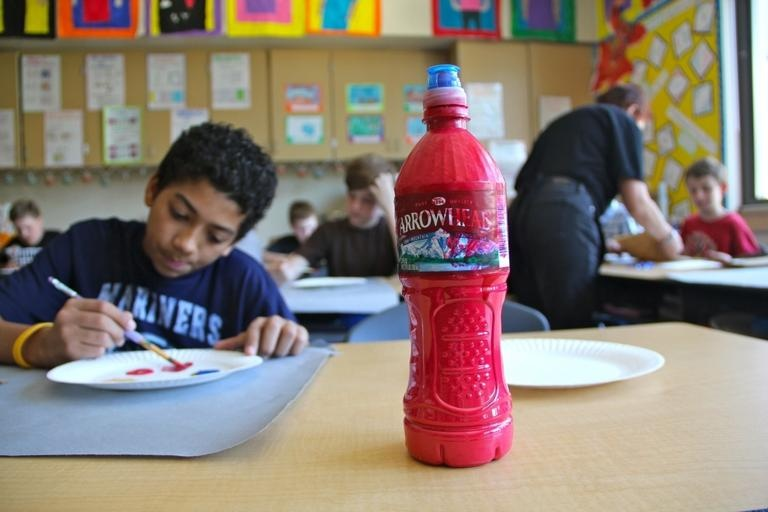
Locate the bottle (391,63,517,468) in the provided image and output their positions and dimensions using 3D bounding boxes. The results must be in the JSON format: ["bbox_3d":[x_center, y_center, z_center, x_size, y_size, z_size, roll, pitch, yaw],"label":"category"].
[{"bbox_3d":[0.111,0.009,1.028,0.185,0.598,0.153,-3,9,0],"label":"bottle"}]

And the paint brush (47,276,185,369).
[{"bbox_3d":[-0.572,0.142,1.430,0.297,0.023,0.030,30,34,7],"label":"paint brush"}]

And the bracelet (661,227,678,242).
[{"bbox_3d":[0.767,-0.058,1.804,0.017,0.063,0.017,20,-10,47],"label":"bracelet"}]

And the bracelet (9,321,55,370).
[{"bbox_3d":[-0.695,0.179,1.328,0.084,0.078,0.022,-25,-1,0],"label":"bracelet"}]
